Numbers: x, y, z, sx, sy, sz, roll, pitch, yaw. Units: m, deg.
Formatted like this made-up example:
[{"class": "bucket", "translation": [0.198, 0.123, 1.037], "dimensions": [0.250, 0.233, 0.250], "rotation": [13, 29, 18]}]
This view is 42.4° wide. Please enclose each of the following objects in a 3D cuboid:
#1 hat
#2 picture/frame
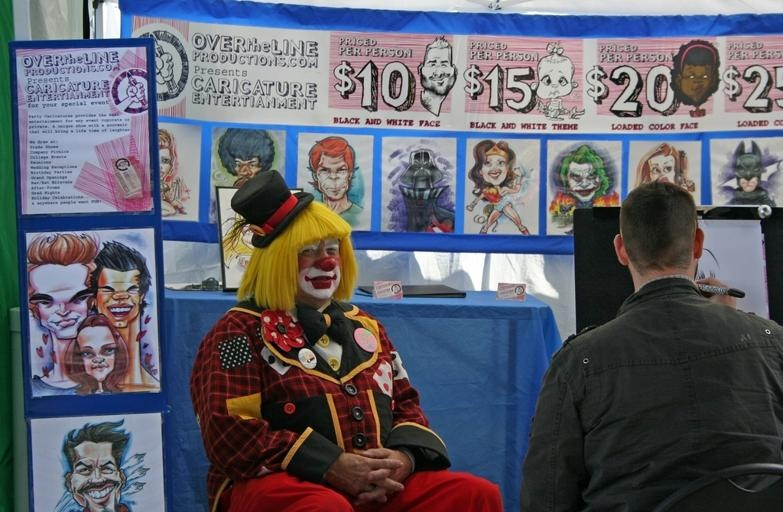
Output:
[{"class": "hat", "translation": [-0.594, -0.254, 4.930], "dimensions": [0.320, 0.402, 0.314], "rotation": [-8, 15, -42]}, {"class": "picture/frame", "translation": [-0.828, -0.169, 5.772], "dimensions": [0.424, 0.690, 0.455], "rotation": [-6, 13, -38]}]
